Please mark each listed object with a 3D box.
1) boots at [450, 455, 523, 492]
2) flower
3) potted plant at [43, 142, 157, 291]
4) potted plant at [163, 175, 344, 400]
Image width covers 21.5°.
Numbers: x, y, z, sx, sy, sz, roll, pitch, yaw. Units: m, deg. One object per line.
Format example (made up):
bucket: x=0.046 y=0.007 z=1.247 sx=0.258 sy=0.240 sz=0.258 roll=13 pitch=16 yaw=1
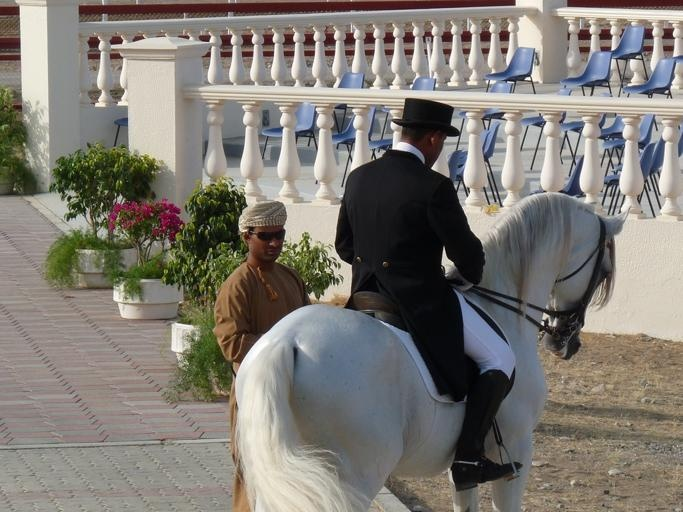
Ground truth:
boots: x=1.248 y=1.839 z=15.734 sx=0.638 sy=0.279 sz=0.202 roll=-11 pitch=7 yaw=-20
flower: x=-2.168 y=-0.040 z=21.104 sx=1.235 sy=1.301 sz=1.036 roll=-4 pitch=0 yaw=13
potted plant: x=-3.038 y=-0.619 z=22.238 sx=1.565 sy=1.739 sz=1.379 roll=-5 pitch=25 yaw=21
potted plant: x=-1.520 y=0.116 z=19.729 sx=2.427 sy=3.244 sz=1.195 roll=-4 pitch=10 yaw=-34
